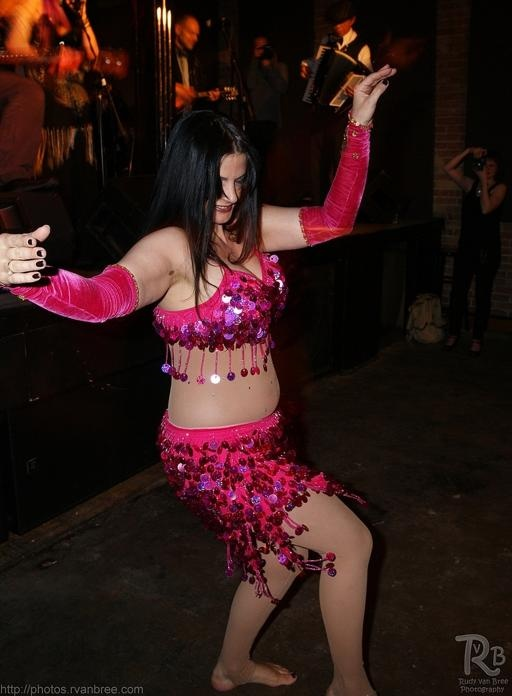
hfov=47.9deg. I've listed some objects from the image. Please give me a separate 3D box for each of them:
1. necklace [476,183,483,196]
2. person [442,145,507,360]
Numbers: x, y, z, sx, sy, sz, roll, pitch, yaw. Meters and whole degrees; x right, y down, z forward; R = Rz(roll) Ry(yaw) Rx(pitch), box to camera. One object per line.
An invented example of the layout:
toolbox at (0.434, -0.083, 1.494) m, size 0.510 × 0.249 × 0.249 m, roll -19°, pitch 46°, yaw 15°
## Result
necklace at (1.975, -1.407, 5.111) m, size 0.073 × 0.086 × 0.081 m, roll 9°, pitch 10°, yaw 7°
person at (2.005, -0.959, 5.415) m, size 0.533 × 1.800 × 1.130 m, roll 4°, pitch 16°, yaw 16°
